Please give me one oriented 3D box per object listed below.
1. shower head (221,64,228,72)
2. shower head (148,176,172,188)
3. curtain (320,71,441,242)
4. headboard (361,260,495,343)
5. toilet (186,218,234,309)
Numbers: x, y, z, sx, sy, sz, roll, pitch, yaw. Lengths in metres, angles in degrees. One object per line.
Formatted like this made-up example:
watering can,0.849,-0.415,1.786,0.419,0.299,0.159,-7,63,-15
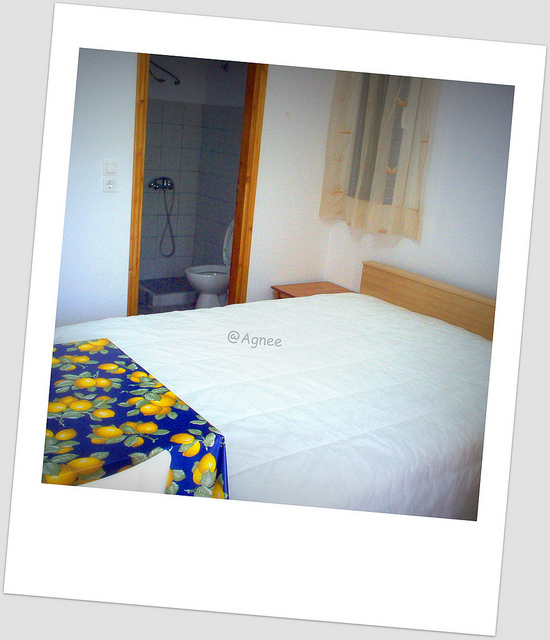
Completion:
shower head,-0.465,-2.397,4.501,0.045,0.053,0.091,0,13,-22
shower head,-1.173,-1.416,4.837,0.195,0.123,0.054,5,11,0
curtain,0.654,-1.131,3.183,0.180,1.107,0.874,-4,14,-35
headboard,0.904,-0.141,2.856,0.419,0.417,0.861,-11,21,-31
toilet,-0.545,-0.485,4.164,0.381,0.772,0.328,-6,20,-20
